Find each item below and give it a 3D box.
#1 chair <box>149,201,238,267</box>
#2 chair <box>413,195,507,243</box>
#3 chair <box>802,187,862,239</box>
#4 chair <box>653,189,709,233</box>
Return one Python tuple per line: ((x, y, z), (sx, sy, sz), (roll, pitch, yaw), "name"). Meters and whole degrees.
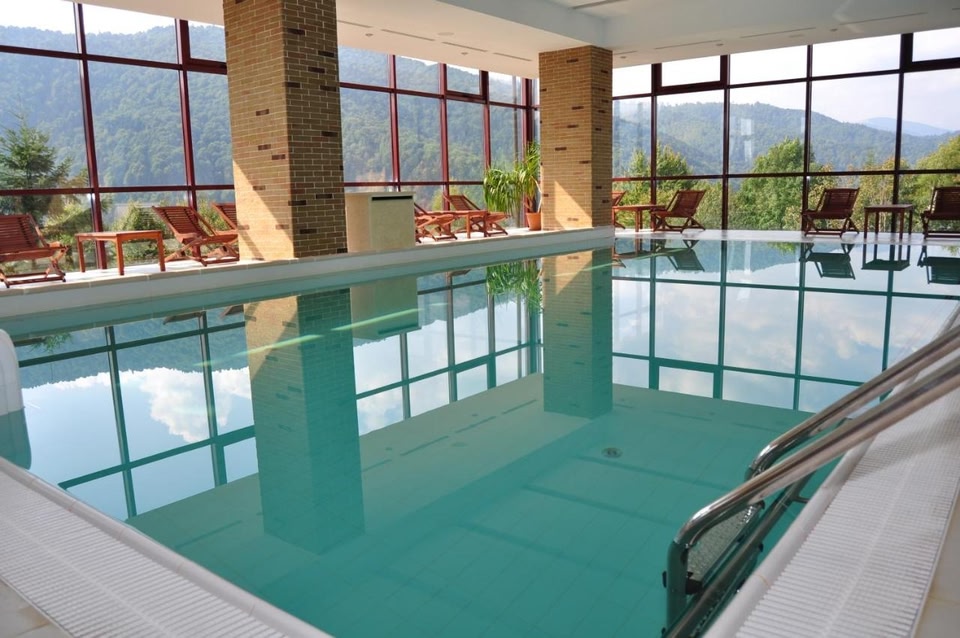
((-4.352, -1.334, 9.890), (1.381, 0.938, 1.078), (7, 13, 21), "chair")
((-0.452, -2.238, 13.726), (1.705, 0.902, 3.500), (-2, 14, -2), "chair")
((8.231, -2.554, 14.702), (1.116, 1.040, 3.040), (7, 16, 30), "chair")
((5.312, -2.874, 16.718), (1.130, 1.426, 1.635), (-6, 15, -16), "chair")
